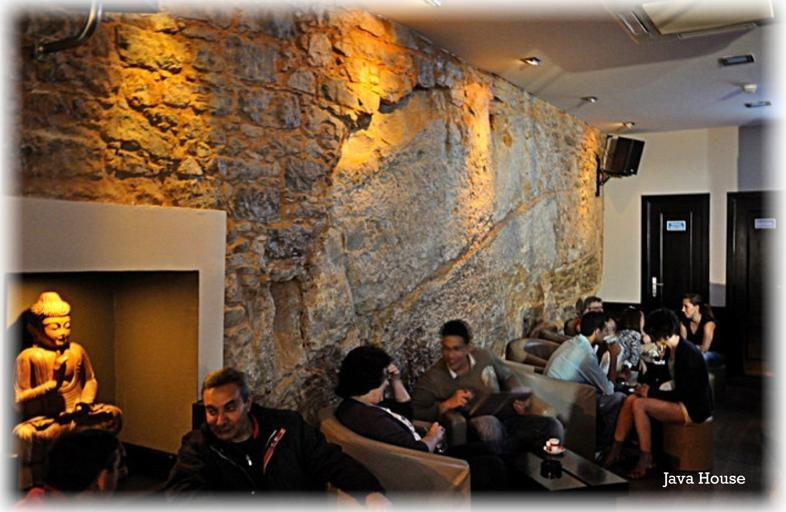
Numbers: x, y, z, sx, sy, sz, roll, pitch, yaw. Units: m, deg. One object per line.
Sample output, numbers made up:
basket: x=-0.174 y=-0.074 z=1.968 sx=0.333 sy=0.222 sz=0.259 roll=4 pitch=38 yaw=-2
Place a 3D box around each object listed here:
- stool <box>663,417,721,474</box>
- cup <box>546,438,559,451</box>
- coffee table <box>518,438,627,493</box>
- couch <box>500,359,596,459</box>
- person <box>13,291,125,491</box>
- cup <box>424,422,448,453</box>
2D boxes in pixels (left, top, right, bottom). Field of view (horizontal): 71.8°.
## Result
stool: x=2.687 y=1.684 z=4.937 sx=0.409 sy=0.415 sz=0.440 roll=-5 pitch=-1 yaw=11
cup: x=1.226 y=1.440 z=4.147 sx=0.093 sy=0.074 sz=0.079 roll=-6 pitch=-7 yaw=29
coffee table: x=1.233 y=1.550 z=3.881 sx=0.548 sy=0.164 sz=0.671 roll=3 pitch=-2 yaw=-36
couch: x=1.356 y=1.414 z=5.133 sx=0.812 sy=0.914 sz=0.678 roll=-2 pitch=-1 yaw=-1
person: x=-1.932 y=0.766 z=3.228 sx=0.174 sy=1.150 sz=0.523 roll=1 pitch=-2 yaw=42
cup: x=0.308 y=1.317 z=3.920 sx=0.123 sy=0.277 sz=0.167 roll=-27 pitch=-48 yaw=37
